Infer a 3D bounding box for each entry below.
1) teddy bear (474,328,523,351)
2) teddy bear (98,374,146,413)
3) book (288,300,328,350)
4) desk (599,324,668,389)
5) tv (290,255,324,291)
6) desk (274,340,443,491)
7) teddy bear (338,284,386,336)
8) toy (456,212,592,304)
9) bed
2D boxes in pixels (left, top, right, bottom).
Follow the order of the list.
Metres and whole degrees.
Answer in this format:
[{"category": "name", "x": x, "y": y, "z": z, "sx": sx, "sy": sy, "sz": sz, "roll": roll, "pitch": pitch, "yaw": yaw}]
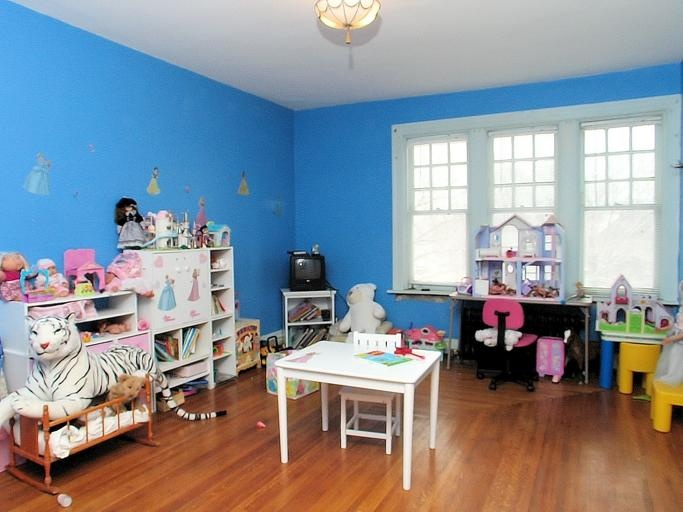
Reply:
[{"category": "teddy bear", "x": 1.566, "y": 0.800, "z": 5.050, "sx": 0.419, "sy": 0.222, "sz": 0.194, "roll": 5, "pitch": 13, "yaw": 24}, {"category": "teddy bear", "x": -1.614, "y": 1.012, "z": 3.845, "sx": 0.233, "sy": 0.302, "sz": 0.379, "roll": 9, "pitch": -1, "yaw": -34}, {"category": "book", "x": -0.385, "y": 0.806, "z": 6.084, "sx": 0.419, "sy": 0.547, "sz": 0.167, "roll": 2, "pitch": -15, "yaw": 35}, {"category": "desk", "x": 2.831, "y": 0.986, "z": 4.961, "sx": 0.505, "sy": 0.506, "sz": 0.530, "roll": 2, "pitch": -1, "yaw": 25}, {"category": "tv", "x": -0.428, "y": 0.196, "z": 6.259, "sx": 0.446, "sy": 0.459, "sz": 0.398, "roll": 0, "pitch": -1, "yaw": -14}, {"category": "desk", "x": 0.139, "y": 0.864, "z": 3.719, "sx": 1.154, "sy": 0.847, "sz": 0.876, "roll": 0, "pitch": 3, "yaw": 21}, {"category": "teddy bear", "x": 0.255, "y": 0.643, "z": 5.984, "sx": 0.571, "sy": 0.532, "sz": 0.679, "roll": 1, "pitch": 11, "yaw": 5}, {"category": "toy", "x": 2.008, "y": 0.024, "z": 5.392, "sx": 1.035, "sy": 1.008, "sz": 0.384, "roll": 0, "pitch": -1, "yaw": 33}, {"category": "bed", "x": -1.864, "y": 1.187, "z": 3.711, "sx": 0.617, "sy": 0.530, "sz": 0.827, "roll": -1, "pitch": 1, "yaw": 36}]
